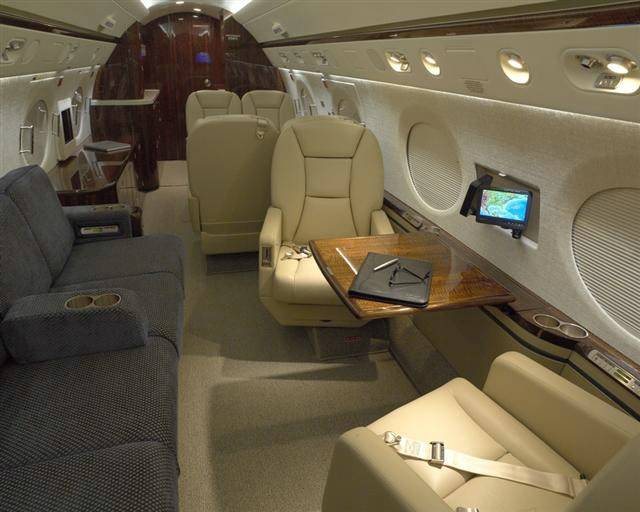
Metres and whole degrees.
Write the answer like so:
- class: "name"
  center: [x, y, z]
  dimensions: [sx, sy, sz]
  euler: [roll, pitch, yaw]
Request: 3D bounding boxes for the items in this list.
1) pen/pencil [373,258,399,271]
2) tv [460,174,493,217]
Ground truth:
- class: "pen/pencil"
  center: [0.339, 0.048, 2.268]
  dimensions: [0.120, 0.028, 0.023]
  euler: [-20, 6, -24]
- class: "tv"
  center: [0.925, -0.352, 2.567]
  dimensions: [0.067, 0.215, 0.208]
  euler: [27, 44, 22]
